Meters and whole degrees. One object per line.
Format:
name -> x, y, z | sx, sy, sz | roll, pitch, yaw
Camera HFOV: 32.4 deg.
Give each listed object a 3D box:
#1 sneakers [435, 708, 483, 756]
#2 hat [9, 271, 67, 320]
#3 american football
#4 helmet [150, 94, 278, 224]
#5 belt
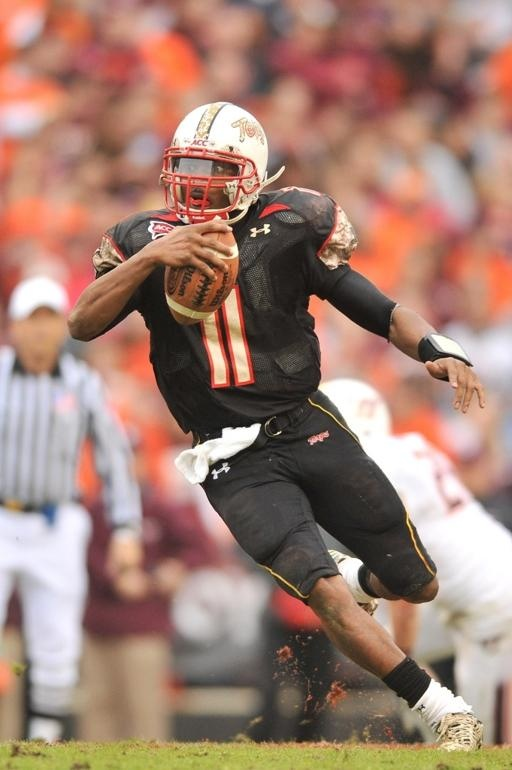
sneakers -> 0.554, 0.993, 2.449 | 0.129, 0.109, 0.224 | -2, 0, 10
hat -> -1.026, -0.412, 4.141 | 0.209, 0.082, 0.256 | 0, 34, -4
american football -> -0.141, -0.293, 2.391 | 0.171, 0.247, 0.178 | 26, 14, 19
helmet -> -0.123, -0.647, 2.620 | 0.288, 0.424, 0.246 | -3, 10, 5
belt -> 0.063, 0.116, 2.607 | 0.411, 0.188, 0.107 | -1, 0, -27
